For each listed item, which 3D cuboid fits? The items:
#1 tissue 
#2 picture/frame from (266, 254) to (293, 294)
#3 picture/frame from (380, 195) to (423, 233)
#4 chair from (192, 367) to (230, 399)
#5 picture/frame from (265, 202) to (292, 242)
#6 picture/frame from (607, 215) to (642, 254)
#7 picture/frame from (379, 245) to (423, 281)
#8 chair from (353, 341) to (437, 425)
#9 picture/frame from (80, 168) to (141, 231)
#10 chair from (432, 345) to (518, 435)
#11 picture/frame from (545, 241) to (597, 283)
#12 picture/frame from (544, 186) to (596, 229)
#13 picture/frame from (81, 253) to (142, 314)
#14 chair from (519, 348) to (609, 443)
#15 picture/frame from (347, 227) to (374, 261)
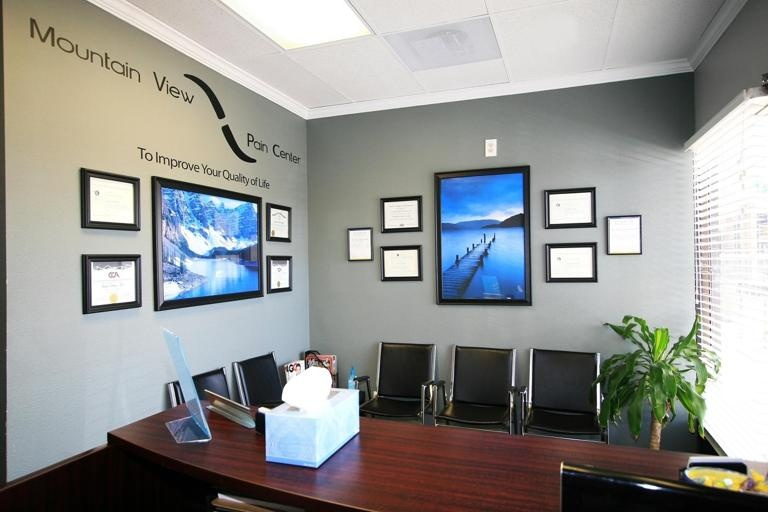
[{"bbox_3d":[-0.378,0.851,2.713,0.283,0.420,0.532,-3,-1,20],"label":"tissue "},{"bbox_3d":[-1.041,0.174,4.777,0.029,0.330,0.378,-2,-3,24],"label":"picture/frame"},{"bbox_3d":[0.187,-0.426,4.960,0.380,0.330,0.027,0,0,13],"label":"picture/frame"},{"bbox_3d":[-1.417,1.037,4.072,0.243,0.345,0.279,6,-21,-44],"label":"chair"},{"bbox_3d":[-1.051,-0.328,4.790,0.030,0.341,0.385,-4,-7,26],"label":"picture/frame"},{"bbox_3d":[2.154,-0.190,4.378,0.338,0.432,0.030,1,0,20],"label":"picture/frame"},{"bbox_3d":[0.185,0.069,4.961,0.365,0.319,0.026,0,-1,14],"label":"picture/frame"},{"bbox_3d":[0.154,1.162,4.723,0.725,0.964,0.708,-1,-8,15],"label":"chair"},{"bbox_3d":[-1.919,-0.392,3.395,0.032,0.466,0.466,0,0,33],"label":"picture/frame"},{"bbox_3d":[0.891,1.199,4.509,0.728,0.975,0.740,0,-6,15],"label":"chair"},{"bbox_3d":[1.732,0.056,4.492,0.372,0.329,0.029,-1,-2,21],"label":"picture/frame"},{"bbox_3d":[1.723,-0.442,4.499,0.384,0.339,0.027,-1,-2,18],"label":"picture/frame"},{"bbox_3d":[-1.908,0.190,3.388,0.030,0.417,0.419,-5,-5,35],"label":"picture/frame"},{"bbox_3d":[1.576,1.210,4.422,0.774,1.108,0.813,0,-9,17],"label":"chair"},{"bbox_3d":[-0.248,-0.115,5.095,0.306,0.367,0.031,-1,-1,22],"label":"picture/frame"}]
